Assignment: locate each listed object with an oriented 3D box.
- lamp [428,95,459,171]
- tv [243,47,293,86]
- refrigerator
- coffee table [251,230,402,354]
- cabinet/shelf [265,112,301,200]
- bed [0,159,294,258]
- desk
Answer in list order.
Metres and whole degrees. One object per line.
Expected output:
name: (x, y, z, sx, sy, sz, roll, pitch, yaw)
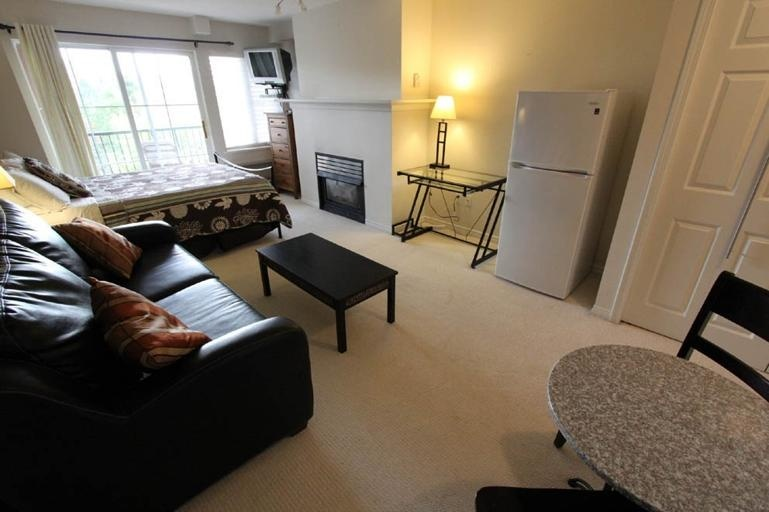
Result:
lamp: (0.665, -1.384, 5.587, 0.262, 0.820, 0.517, 3, 28, 7)
tv: (-1.639, -2.744, 7.200, 0.617, 0.505, 0.362, 12, 33, 29)
refrigerator: (1.510, -0.551, 4.440, 0.868, 1.792, 0.550, 12, 30, 21)
coffee table: (-0.527, 0.256, 4.376, 0.628, 0.510, 1.158, -24, 36, -38)
cabinet/shelf: (-1.347, -1.479, 7.369, 0.411, 1.179, 0.697, -17, 23, -35)
bed: (-2.357, -0.570, 5.131, 1.893, 1.011, 1.281, -21, 42, -40)
desk: (0.897, -0.487, 5.339, 1.258, 0.783, 0.660, 10, -9, -25)
